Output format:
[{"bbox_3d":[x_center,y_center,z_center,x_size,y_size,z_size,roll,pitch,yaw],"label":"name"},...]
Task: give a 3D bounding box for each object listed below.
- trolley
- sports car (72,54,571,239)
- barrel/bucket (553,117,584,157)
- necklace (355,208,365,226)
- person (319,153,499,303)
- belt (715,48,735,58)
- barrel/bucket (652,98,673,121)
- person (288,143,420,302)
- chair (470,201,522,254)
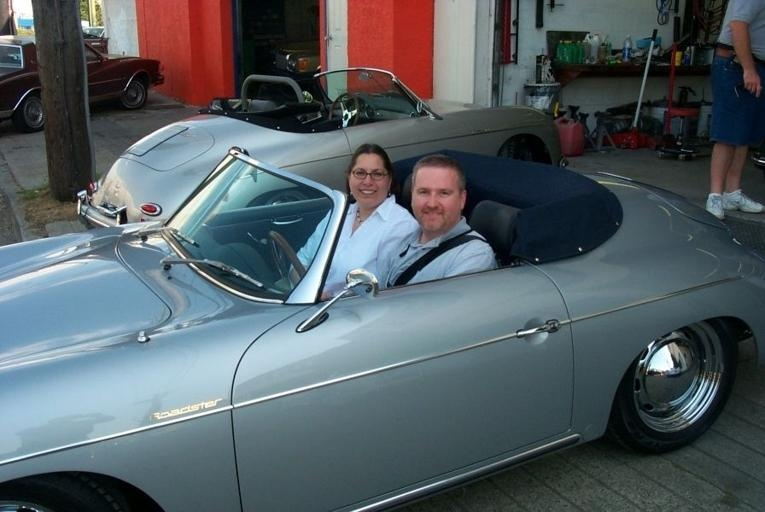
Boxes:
[{"bbox_3d":[5.533,-3.033,10.642,0.984,2.431,1.145,0,21,15],"label":"trolley"},{"bbox_3d":[-0.603,-1.462,6.587,4.677,1.604,2.524,-14,23,-27],"label":"sports car"},{"bbox_3d":[3.193,-2.003,9.788,0.309,0.529,0.569,-13,15,-6],"label":"barrel/bucket"},{"bbox_3d":[-0.151,-0.249,3.814,0.025,0.089,0.092,31,7,-33],"label":"necklace"},{"bbox_3d":[0.296,-0.208,3.575,0.989,0.991,0.705,0,9,-36],"label":"person"},{"bbox_3d":[3.336,-1.988,5.644,0.133,0.057,0.098,12,7,-7],"label":"belt"},{"bbox_3d":[5.306,-2.800,11.078,0.509,0.505,0.498,-1,14,0],"label":"barrel/bucket"},{"bbox_3d":[-0.140,-0.176,3.826,0.801,1.045,0.545,19,18,41],"label":"person"},{"bbox_3d":[0.629,-0.186,3.373,0.349,0.316,0.223,-3,40,-5],"label":"chair"}]
